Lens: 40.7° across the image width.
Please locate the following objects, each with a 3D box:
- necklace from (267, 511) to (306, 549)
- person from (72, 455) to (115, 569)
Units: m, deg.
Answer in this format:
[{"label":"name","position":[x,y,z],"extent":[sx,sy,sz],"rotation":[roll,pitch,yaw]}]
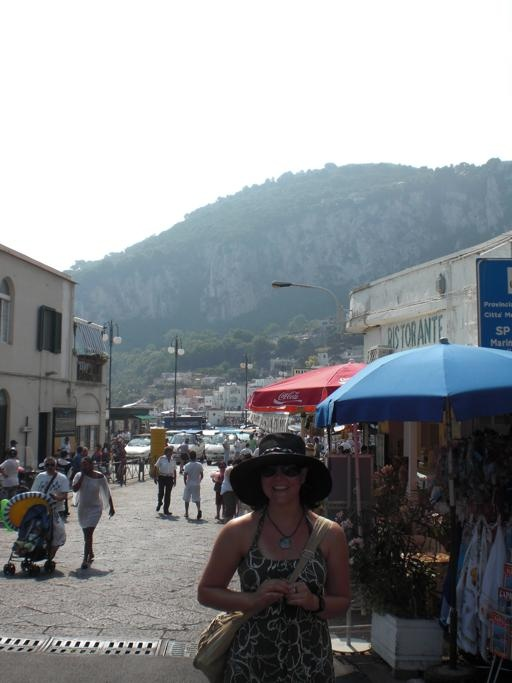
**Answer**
[{"label":"necklace","position":[0.113,0.735,2.691],"extent":[0.162,0.033,0.219],"rotation":[4,25,0]},{"label":"person","position":[-2.317,2.302,9.551],"extent":[0.479,1.385,1.090],"rotation":[-1,-5,-1]}]
